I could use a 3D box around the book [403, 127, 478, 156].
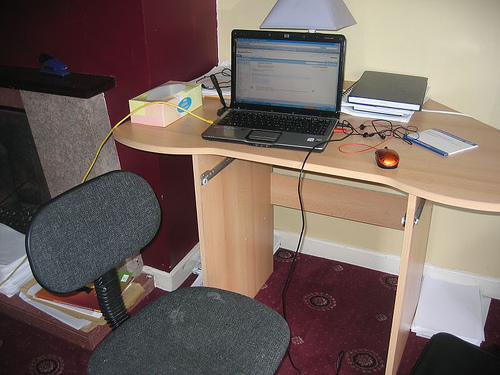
[{"bbox_3d":[0.697,-0.169,1.450,0.149,0.023,0.225,-27,47,-32],"label":"book"}]

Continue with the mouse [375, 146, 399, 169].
[{"bbox_3d":[0.472,-0.106,1.347,0.070,0.042,0.123,-1,23,10],"label":"mouse"}]

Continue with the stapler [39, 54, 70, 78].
[{"bbox_3d":[-0.917,-0.566,1.827,0.133,0.078,0.054,15,27,9],"label":"stapler"}]

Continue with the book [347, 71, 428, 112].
[{"bbox_3d":[0.614,-0.433,1.725,0.283,0.048,0.381,17,41,18],"label":"book"}]

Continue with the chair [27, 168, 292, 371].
[{"bbox_3d":[-0.364,0.326,1.551,0.610,0.681,0.476,22,40,26],"label":"chair"}]

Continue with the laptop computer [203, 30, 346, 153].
[{"bbox_3d":[0.096,-0.390,1.521,0.497,0.334,0.402,6,32,14],"label":"laptop computer"}]

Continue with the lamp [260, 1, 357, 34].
[{"bbox_3d":[0.249,-0.707,1.628,0.407,0.121,0.228,4,38,3],"label":"lamp"}]

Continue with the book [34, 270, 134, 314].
[{"bbox_3d":[-0.871,0.573,2.042,0.238,0.071,0.334,17,5,-10],"label":"book"}]
